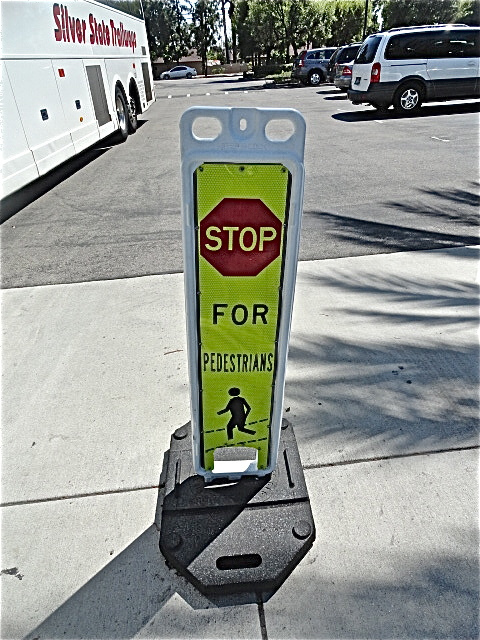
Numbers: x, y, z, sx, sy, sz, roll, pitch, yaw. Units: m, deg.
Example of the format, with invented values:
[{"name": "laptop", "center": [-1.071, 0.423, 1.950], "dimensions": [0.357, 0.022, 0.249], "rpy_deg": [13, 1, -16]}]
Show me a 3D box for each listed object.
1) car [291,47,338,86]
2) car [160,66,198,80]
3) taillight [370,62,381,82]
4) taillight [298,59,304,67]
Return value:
[{"name": "car", "center": [3.665, -12.220, 23.767], "dimensions": [1.507, 1.801, 1.697], "rpy_deg": [-27, 35, -32]}, {"name": "car", "center": [-5.950, -23.932, 47.642], "dimensions": [2.695, 0.894, 2.195], "rpy_deg": [10, 32, 15]}, {"name": "taillight", "center": [3.154, -5.704, 11.338], "dimensions": [0.206, 0.410, 0.127], "rpy_deg": [2, 29, 4]}, {"name": "taillight", "center": [2.946, -12.197, 23.381], "dimensions": [0.113, 0.335, 0.469], "rpy_deg": [-13, 33, -22]}]
